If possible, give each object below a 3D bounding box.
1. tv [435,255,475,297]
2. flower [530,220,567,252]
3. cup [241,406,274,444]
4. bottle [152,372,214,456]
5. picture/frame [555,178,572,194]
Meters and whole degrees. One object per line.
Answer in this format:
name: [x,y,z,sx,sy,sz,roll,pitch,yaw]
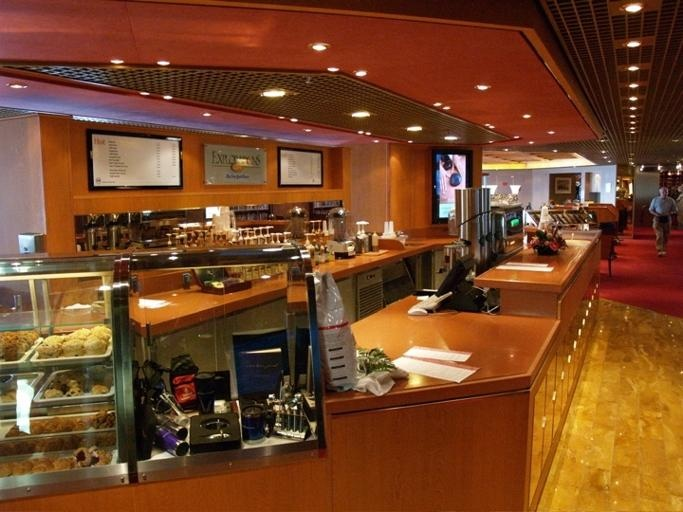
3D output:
tv: [0.849,0.145,3.803,0.277,0.271,0.257,0,10,7]
flower: [2.138,-0.184,5.282,0.360,0.354,0.359,2,-2,-35]
cup: [-0.373,0.740,2.252,0.170,0.135,0.103,3,-4,-25]
bottle: [-0.723,0.715,2.289,0.124,0.165,0.449,11,6,-27]
picture/frame: [9.023,-2.844,20.674,0.700,0.695,0.035,1,3,18]
